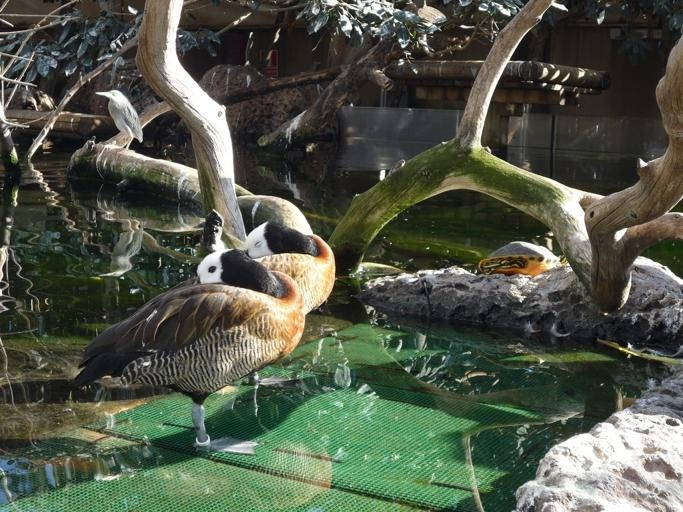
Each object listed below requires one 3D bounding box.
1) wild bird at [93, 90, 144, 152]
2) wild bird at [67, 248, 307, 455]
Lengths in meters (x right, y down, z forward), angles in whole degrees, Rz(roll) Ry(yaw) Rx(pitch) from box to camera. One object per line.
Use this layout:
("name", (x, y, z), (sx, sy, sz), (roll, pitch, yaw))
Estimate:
("wild bird", (-2.787, -1.801, 8.958), (0.420, 0.592, 0.578), (0, 16, -15))
("wild bird", (-0.723, 0.320, 3.442), (1.110, 0.651, 0.467), (0, 17, -12))
